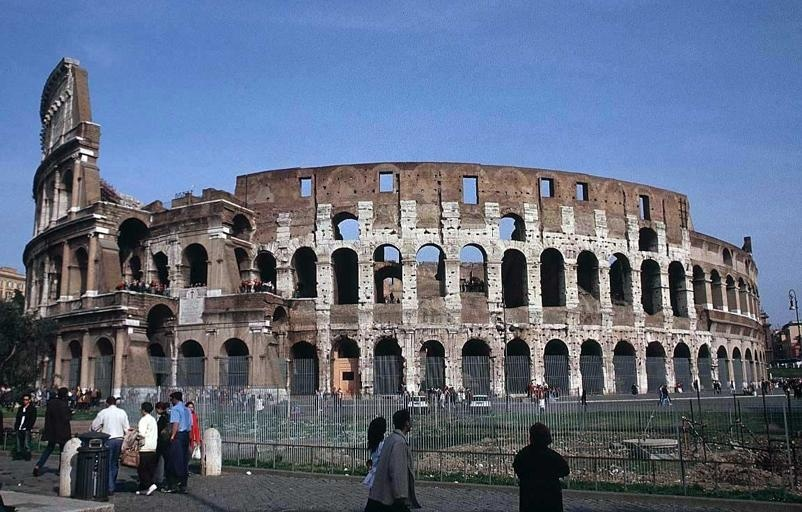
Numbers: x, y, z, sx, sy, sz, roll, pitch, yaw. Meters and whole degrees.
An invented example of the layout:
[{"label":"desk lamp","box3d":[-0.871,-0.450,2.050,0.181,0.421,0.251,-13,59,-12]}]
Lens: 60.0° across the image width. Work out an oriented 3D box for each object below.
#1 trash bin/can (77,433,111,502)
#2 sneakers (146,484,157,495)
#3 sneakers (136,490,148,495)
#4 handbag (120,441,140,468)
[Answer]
[{"label":"trash bin/can","box3d":[-7.836,5.350,17.655,0.821,1.677,0.666,4,-16,-15]},{"label":"sneakers","box3d":[-6.676,6.290,18.649,0.364,0.145,0.130,-45,-26,-1]},{"label":"sneakers","box3d":[-6.977,6.385,18.727,0.335,0.143,0.114,3,-11,15]},{"label":"handbag","box3d":[-8.514,6.282,21.766,0.443,0.672,1.258,6,-17,-22]}]
